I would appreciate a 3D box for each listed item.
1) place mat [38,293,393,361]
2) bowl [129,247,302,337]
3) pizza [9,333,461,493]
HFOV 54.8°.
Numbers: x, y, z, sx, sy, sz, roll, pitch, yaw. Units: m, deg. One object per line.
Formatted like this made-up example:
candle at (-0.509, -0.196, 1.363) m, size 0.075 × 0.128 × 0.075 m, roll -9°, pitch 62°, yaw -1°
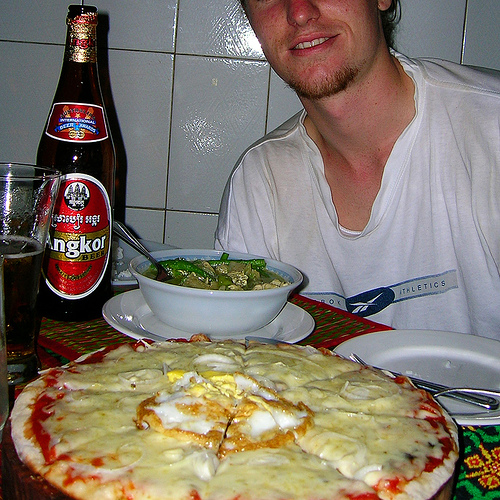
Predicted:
place mat at (-0.110, 0.106, 0.741) m, size 0.445 × 0.003 × 0.159 m, roll -2°, pitch 9°, yaw -11°
bowl at (-0.061, 0.062, 0.778) m, size 0.256 × 0.082 × 0.264 m, roll 7°, pitch 12°, yaw -2°
pizza at (-0.010, 0.140, 0.449) m, size 0.405 × 0.039 × 0.242 m, roll 2°, pitch 17°, yaw -3°
